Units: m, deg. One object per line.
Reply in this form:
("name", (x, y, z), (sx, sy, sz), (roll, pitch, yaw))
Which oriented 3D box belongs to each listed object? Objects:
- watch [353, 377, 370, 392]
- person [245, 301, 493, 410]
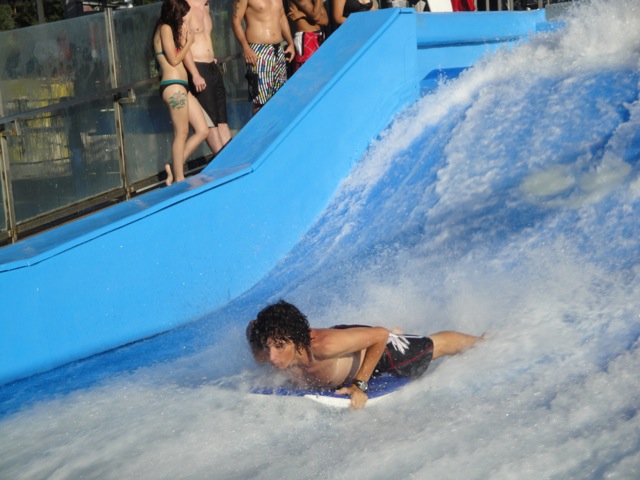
("watch", (0.223, 0.776, 3.801), (0.064, 0.035, 0.059), (-8, 30, 33))
("person", (0.164, 0.537, 3.889), (0.864, 0.382, 0.565), (-18, 2, -29))
